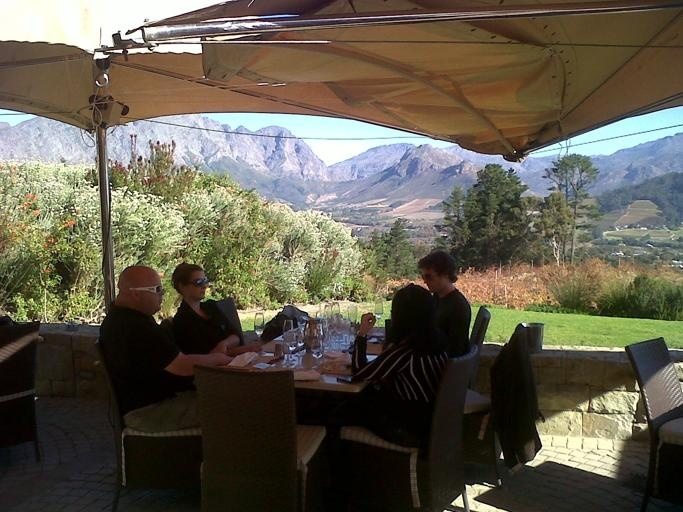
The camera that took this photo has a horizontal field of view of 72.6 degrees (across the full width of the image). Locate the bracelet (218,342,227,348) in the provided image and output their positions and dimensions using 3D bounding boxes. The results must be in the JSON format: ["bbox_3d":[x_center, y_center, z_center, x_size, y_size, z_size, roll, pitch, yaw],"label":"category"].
[{"bbox_3d":[-1.026,0.766,4.002,0.042,0.039,0.041,1,-8,30],"label":"bracelet"}]

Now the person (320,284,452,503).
[{"bbox_3d":[0.314,1.002,3.204,0.917,1.624,0.413,0,-1,28],"label":"person"}]

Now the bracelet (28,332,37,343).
[{"bbox_3d":[-2.651,0.701,4.014,0.062,0.057,0.063,0,8,43],"label":"bracelet"}]

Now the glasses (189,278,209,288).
[{"bbox_3d":[-1.258,0.230,4.059,0.171,0.060,0.171,-2,3,32],"label":"glasses"}]

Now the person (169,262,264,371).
[{"bbox_3d":[-1.115,0.542,4.137,0.892,0.903,0.596,4,4,8],"label":"person"}]

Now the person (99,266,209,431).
[{"bbox_3d":[-1.354,0.640,3.273,0.654,1.151,0.372,1,-1,-18],"label":"person"}]

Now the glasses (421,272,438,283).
[{"bbox_3d":[0.777,0.185,4.165,0.112,0.107,0.084,14,24,32],"label":"glasses"}]

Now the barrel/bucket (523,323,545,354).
[{"bbox_3d":[1.931,0.827,4.713,0.259,0.278,0.291,-5,-10,14],"label":"barrel/bucket"}]

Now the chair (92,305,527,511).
[{"bbox_3d":[-0.063,1.294,3.692,2.747,1.407,1.650,2,-1,11],"label":"chair"}]
